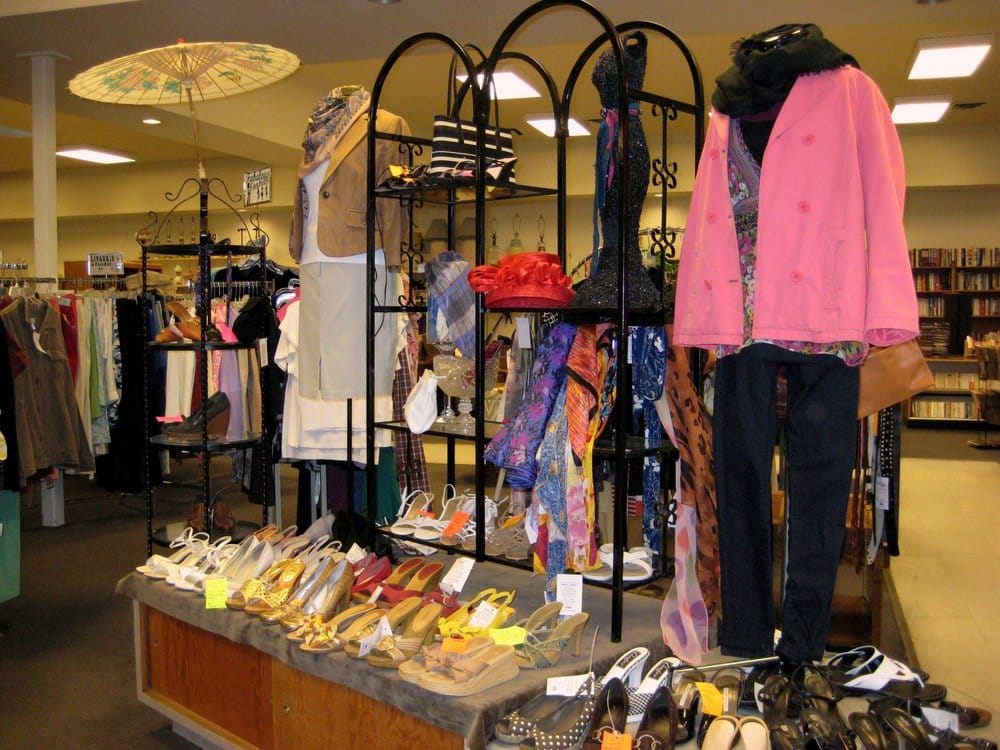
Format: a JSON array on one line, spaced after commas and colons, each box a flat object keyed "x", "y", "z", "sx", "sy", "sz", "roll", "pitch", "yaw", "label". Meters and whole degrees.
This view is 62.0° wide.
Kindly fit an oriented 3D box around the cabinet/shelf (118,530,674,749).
[{"x": -0.398, "y": 1.075, "z": 3.341, "sx": 1.364, "sy": 0.306, "sz": 0.869, "roll": 8, "pitch": 8, "yaw": 39, "label": "cabinet/shelf"}]

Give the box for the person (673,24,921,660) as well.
[{"x": 1.088, "y": -0.082, "z": 3.117, "sx": 0.842, "sy": 2.375, "sz": 0.350, "roll": 4, "pitch": 10, "yaw": 25, "label": "person"}]

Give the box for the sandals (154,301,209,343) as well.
[{"x": -1.705, "y": -0.307, "z": 4.559, "sx": 0.189, "sy": 0.148, "sz": 0.383, "roll": 0, "pitch": 10, "yaw": 6, "label": "sandals"}]

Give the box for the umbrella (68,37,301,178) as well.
[{"x": -1.905, "y": -1.782, "z": 5.114, "sx": 1.302, "sy": 0.629, "sz": 0.910, "roll": 6, "pitch": 12, "yaw": 32, "label": "umbrella"}]
